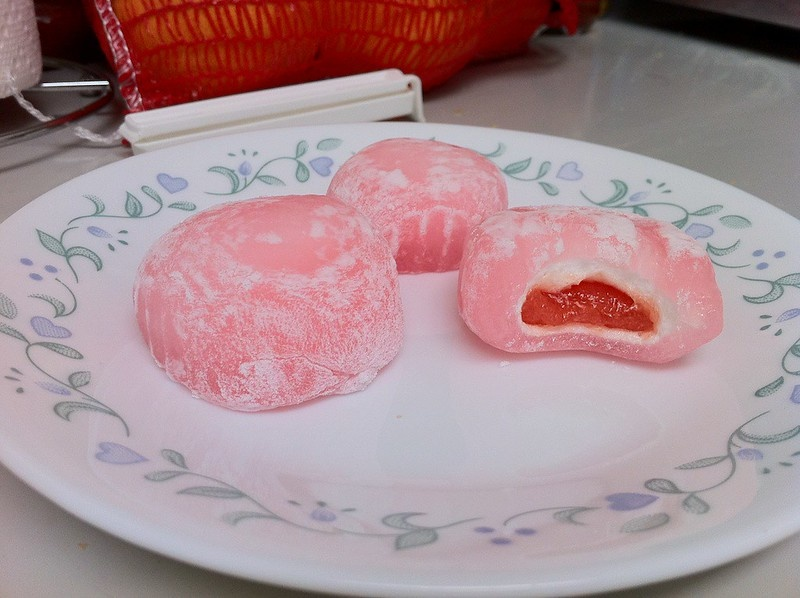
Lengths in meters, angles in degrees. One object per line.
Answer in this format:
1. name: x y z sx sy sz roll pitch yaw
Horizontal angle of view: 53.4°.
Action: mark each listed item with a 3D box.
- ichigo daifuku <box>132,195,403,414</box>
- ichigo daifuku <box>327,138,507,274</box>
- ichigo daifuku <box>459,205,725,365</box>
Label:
1. ichigo daifuku: -0.088 -0.004 0.688 0.205 0.095 0.195 24 45 25
2. ichigo daifuku: 0.022 -0.077 0.841 0.200 0.172 0.077 -1 101 -10
3. ichigo daifuku: 0.184 -0.006 0.735 0.240 0.127 0.101 3 94 15
